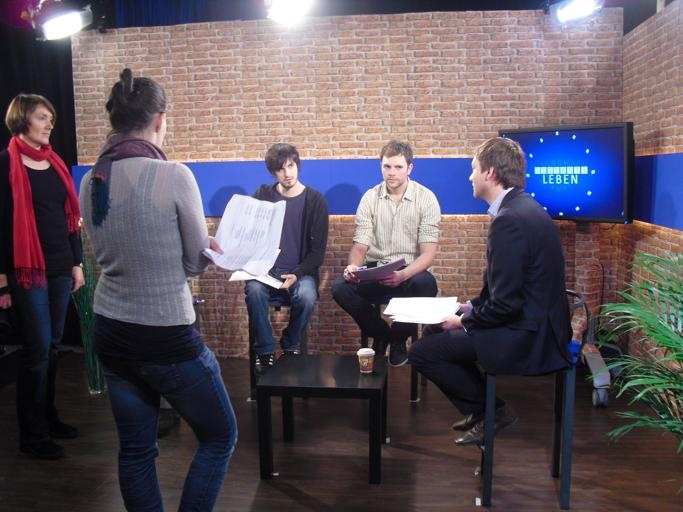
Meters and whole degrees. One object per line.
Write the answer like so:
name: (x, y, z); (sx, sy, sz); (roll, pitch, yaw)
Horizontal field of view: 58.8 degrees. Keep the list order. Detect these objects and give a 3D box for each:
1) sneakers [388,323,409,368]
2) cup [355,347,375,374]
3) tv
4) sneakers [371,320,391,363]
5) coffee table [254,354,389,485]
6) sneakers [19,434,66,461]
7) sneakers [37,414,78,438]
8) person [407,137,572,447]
sneakers: (0.424, 0.639, 4.501); (0.128, 0.144, 0.373); (-2, 44, 8)
cup: (0.148, 0.624, 3.635); (0.135, 0.135, 0.133); (-2, 3, 0)
tv: (1.567, -0.562, 4.160); (0.092, 0.541, 0.842); (-12, 14, -43)
sneakers: (0.309, 0.629, 4.542); (0.129, 0.288, 0.100); (3, -1, -41)
coffee table: (-0.078, 0.993, 3.699); (0.864, 0.496, 0.846); (-1, -1, 23)
sneakers: (-1.789, 1.156, 3.709); (0.290, 0.108, 0.116); (4, 13, 5)
sneakers: (-1.814, 1.101, 3.905); (0.240, 0.087, 0.085); (3, 7, 7)
person: (0.866, 0.249, 3.361); (0.813, 1.744, 0.504); (7, 17, 26)
